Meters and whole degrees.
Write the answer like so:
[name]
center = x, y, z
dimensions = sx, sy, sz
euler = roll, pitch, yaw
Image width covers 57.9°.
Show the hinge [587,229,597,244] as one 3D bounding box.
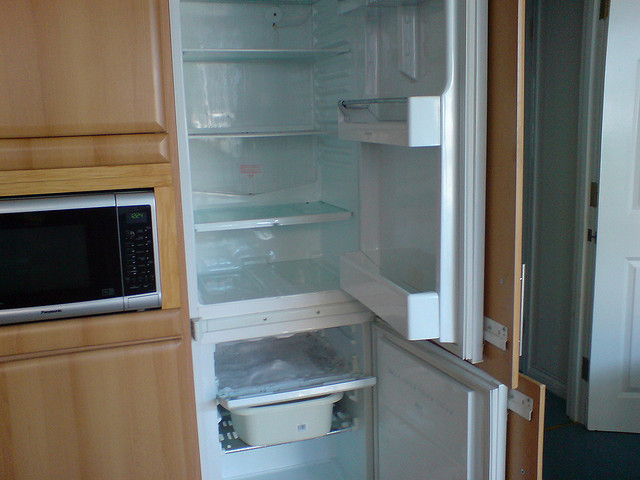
[hinge]
center = 1.420, -0.022, 3.008
dimensions = 0.058, 0.075, 0.023
euler = 4, -3, 43
